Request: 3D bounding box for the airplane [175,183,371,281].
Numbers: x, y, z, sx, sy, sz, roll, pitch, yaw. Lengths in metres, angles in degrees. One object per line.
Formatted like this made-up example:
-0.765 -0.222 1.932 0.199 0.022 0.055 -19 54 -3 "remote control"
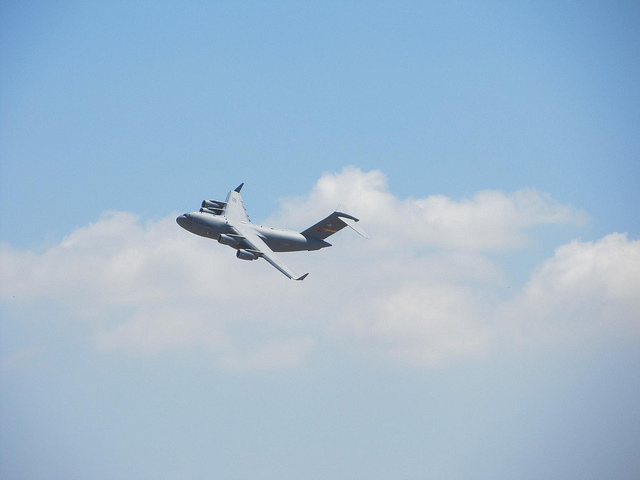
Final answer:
-5.481 -1.303 129.424 19.139 6.438 18.270 9 -7 -12 "airplane"
